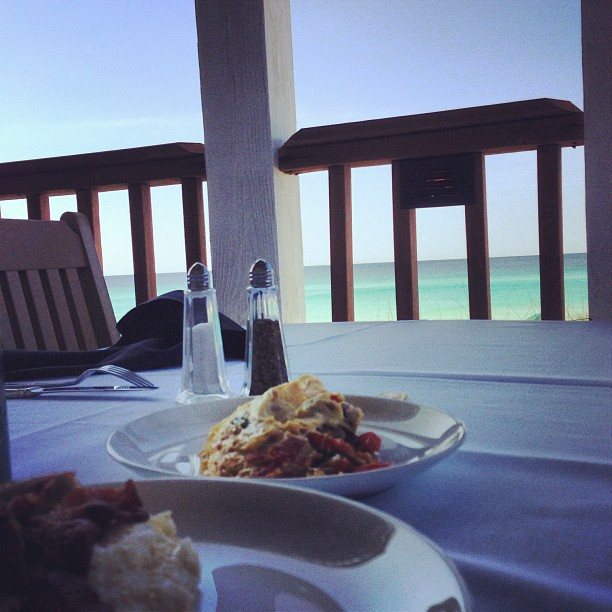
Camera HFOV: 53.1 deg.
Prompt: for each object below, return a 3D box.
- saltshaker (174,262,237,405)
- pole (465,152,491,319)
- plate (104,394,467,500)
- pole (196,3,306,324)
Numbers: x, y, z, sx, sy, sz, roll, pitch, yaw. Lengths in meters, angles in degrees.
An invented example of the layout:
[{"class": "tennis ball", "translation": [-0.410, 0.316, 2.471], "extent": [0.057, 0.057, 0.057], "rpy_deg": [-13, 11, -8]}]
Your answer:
[{"class": "saltshaker", "translation": [-0.128, 0.028, 0.746], "extent": [0.077, 0.169, 0.080], "rpy_deg": [7, 8, 39]}, {"class": "pole", "translation": [0.497, -0.202, 1.779], "extent": [0.072, 0.478, 0.116], "rpy_deg": [-4, 7, 16]}, {"class": "plate", "translation": [-0.009, 0.071, 0.446], "extent": [0.216, 0.057, 0.205], "rpy_deg": [1, 4, 11]}, {"class": "pole", "translation": [-0.176, -0.471, 2.010], "extent": [0.228, 1.060, 0.308], "rpy_deg": [-2, 4, 11]}]
